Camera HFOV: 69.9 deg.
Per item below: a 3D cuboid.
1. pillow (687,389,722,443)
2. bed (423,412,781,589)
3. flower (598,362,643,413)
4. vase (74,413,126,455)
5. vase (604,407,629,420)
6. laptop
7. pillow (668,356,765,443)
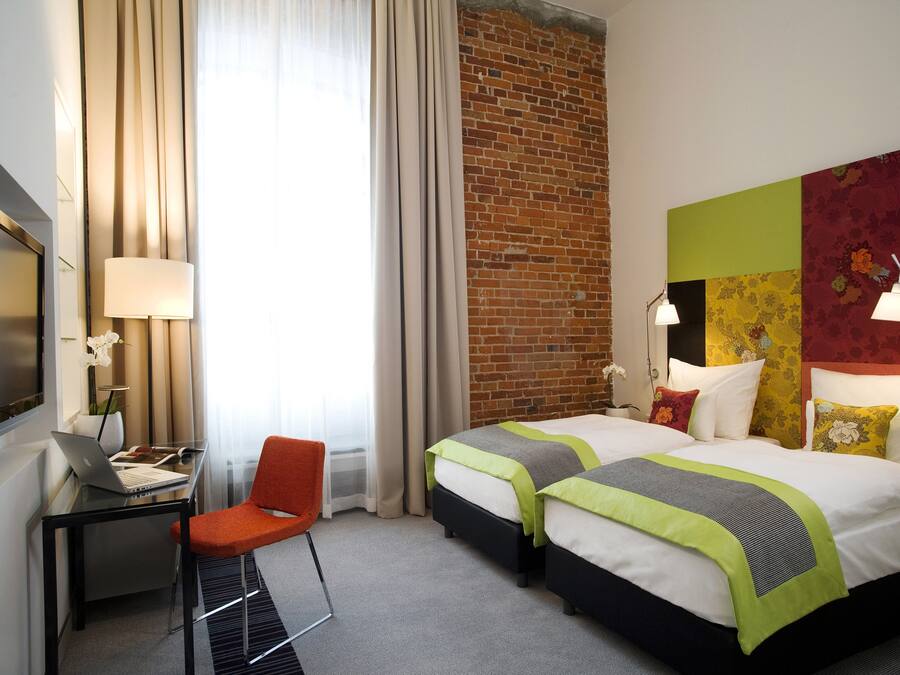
[{"bbox_3d":[1.798,0.570,4.552,0.090,0.254,0.245,10,34,27],"label":"pillow"},{"bbox_3d":[0.767,0.862,4.206,1.259,0.595,1.284,2,-6,-30],"label":"bed"},{"bbox_3d":[1.455,0.502,5.672,0.224,0.514,0.264,13,-19,-36],"label":"flower"},{"bbox_3d":[-1.931,0.499,3.539,0.236,0.250,0.250,0,-3,3],"label":"vase"},{"bbox_3d":[1.436,0.648,5.539,0.148,0.112,0.150,-3,-5,42],"label":"vase"},{"bbox_3d":[-1.576,0.627,3.064,0.427,0.224,0.344,-2,-5,43],"label":"laptop"},{"bbox_3d":[1.930,0.463,4.600,0.190,0.475,0.554,0,0,-32],"label":"pillow"}]
